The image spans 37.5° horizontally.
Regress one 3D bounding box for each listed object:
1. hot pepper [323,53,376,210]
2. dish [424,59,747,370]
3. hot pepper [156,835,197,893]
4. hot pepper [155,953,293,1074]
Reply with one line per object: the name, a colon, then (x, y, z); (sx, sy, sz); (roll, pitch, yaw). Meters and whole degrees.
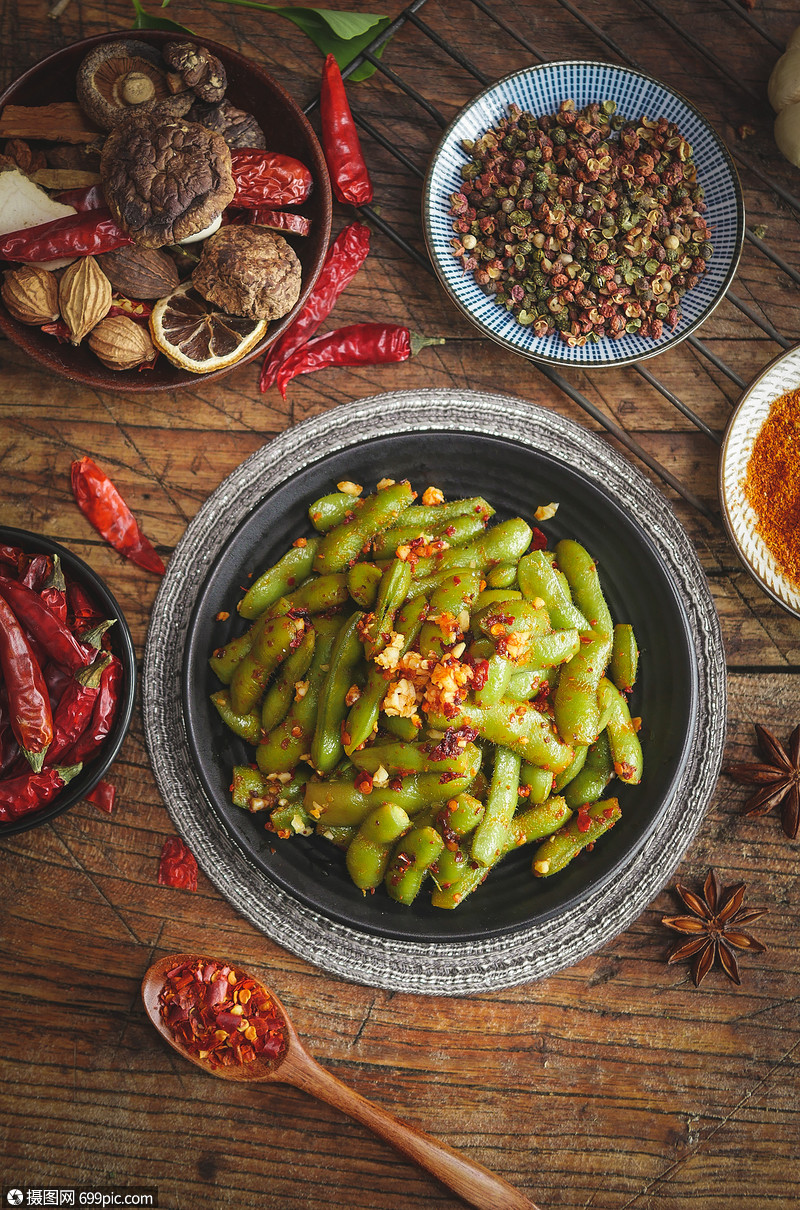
hot pepper: (-0.106, -0.893, 2.244); (0.074, 0.081, 0.282); (-18, 97, -38)
dish: (0.347, -0.743, 2.237); (0.603, 0.201, 0.517); (-1, 77, 0)
hot pepper: (-0.431, 0.487, 2.221); (0.097, 0.023, 0.090); (-1, 88, 3)
hot pepper: (-0.332, 0.765, 2.279); (0.259, 0.085, 0.170); (36, 93, 6)
